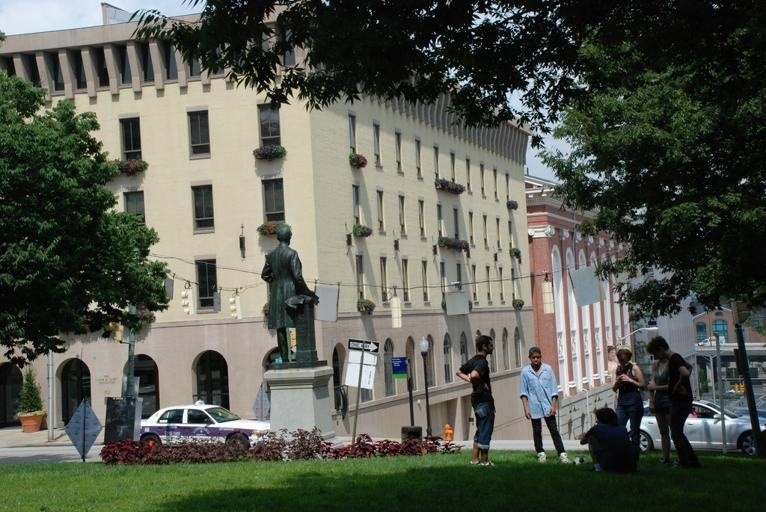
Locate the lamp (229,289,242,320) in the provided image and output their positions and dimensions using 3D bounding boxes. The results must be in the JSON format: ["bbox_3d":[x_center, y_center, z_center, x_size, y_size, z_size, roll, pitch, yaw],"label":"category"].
[{"bbox_3d":[-7.332,2.361,44.862,0.571,1.449,0.532,-3,-13,-6],"label":"lamp"}]

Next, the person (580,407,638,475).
[{"bbox_3d":[4.445,3.782,18.537,1.118,1.597,1.191,6,-11,-15],"label":"person"}]

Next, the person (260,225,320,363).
[{"bbox_3d":[-2.434,0.862,23.168,1.259,3.684,0.780,-8,-13,18],"label":"person"}]

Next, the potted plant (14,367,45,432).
[{"bbox_3d":[-18.097,7.359,46.527,1.267,3.326,1.059,1,-13,-21],"label":"potted plant"}]

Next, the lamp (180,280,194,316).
[{"bbox_3d":[-9.810,2.028,45.324,0.620,1.605,0.942,-1,-13,-13],"label":"lamp"}]

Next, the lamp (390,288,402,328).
[{"bbox_3d":[0.712,2.970,51.338,0.646,2.130,1.710,-4,-13,-1],"label":"lamp"}]

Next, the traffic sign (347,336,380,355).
[{"bbox_3d":[-0.581,2.663,27.206,0.826,0.525,1.230,-5,-13,1],"label":"traffic sign"}]
